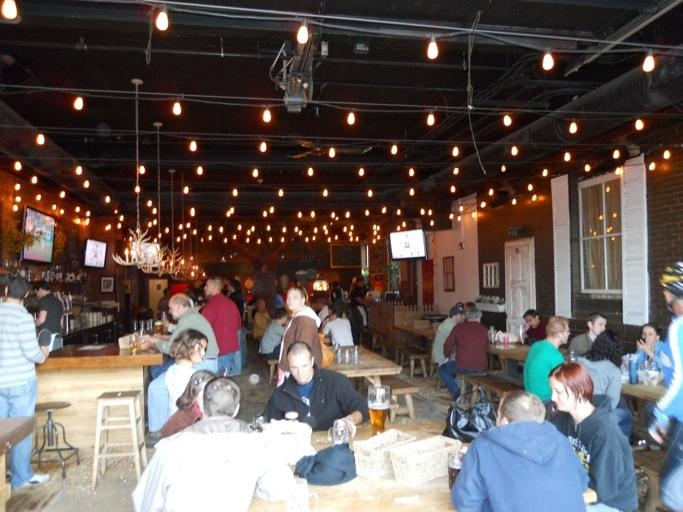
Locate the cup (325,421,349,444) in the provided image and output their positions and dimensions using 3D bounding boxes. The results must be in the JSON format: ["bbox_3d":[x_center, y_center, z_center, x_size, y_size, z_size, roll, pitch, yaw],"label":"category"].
[{"bbox_3d":[-0.022,1.215,3.697,0.167,0.232,0.211,3,-12,-6],"label":"cup"}]

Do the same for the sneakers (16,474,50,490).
[{"bbox_3d":[-3.127,2.259,5.382,0.091,0.123,0.260,4,8,35],"label":"sneakers"}]

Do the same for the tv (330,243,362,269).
[{"bbox_3d":[0.175,0.006,23.164,1.088,1.196,0.265,-3,2,-11],"label":"tv"}]

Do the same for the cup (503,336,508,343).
[{"bbox_3d":[2.461,1.251,7.997,0.068,0.118,0.071,-1,-4,0],"label":"cup"}]

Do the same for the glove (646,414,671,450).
[{"bbox_3d":[2.296,1.259,3.848,0.065,0.173,0.236,2,-44,42],"label":"glove"}]
